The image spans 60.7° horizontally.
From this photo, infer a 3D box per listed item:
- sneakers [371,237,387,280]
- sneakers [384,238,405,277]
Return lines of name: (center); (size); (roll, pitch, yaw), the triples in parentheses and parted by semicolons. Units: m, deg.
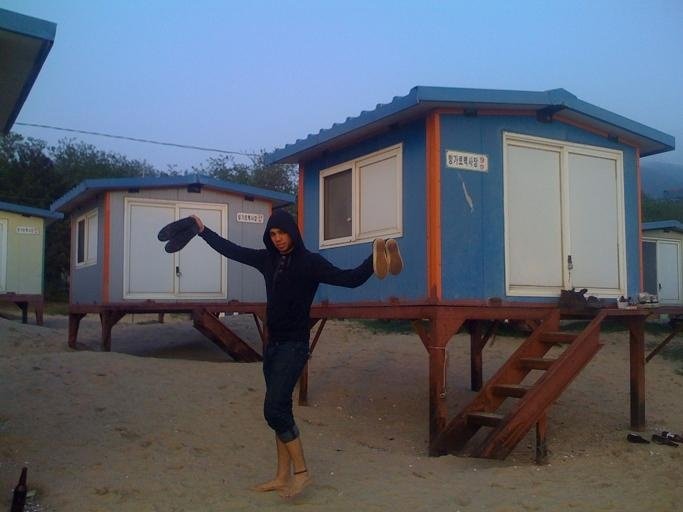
sneakers: (0.352, 0.028, 5.459); (0.147, 0.345, 0.138); (-4, -2, -25)
sneakers: (0.497, 0.009, 5.432); (0.158, 0.341, 0.130); (-9, 3, 3)
